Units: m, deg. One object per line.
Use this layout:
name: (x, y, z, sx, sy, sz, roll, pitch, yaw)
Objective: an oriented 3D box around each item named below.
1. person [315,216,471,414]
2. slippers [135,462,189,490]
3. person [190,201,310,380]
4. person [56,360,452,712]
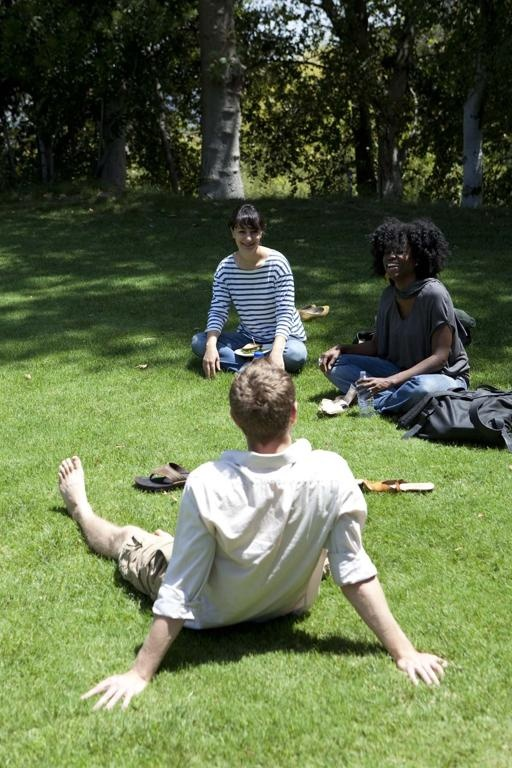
person: (1.027, -0.516, 5.586, 0.979, 1.410, 1.177, -12, 15, -38)
slippers: (-0.517, 0.512, 4.326, 0.175, 0.111, 0.428, -1, -4, 29)
person: (-0.058, -0.747, 6.344, 0.859, 1.462, 1.042, 3, 15, 21)
person: (-0.053, 0.451, 2.530, 0.874, 0.695, 1.223, -4, 20, -16)
